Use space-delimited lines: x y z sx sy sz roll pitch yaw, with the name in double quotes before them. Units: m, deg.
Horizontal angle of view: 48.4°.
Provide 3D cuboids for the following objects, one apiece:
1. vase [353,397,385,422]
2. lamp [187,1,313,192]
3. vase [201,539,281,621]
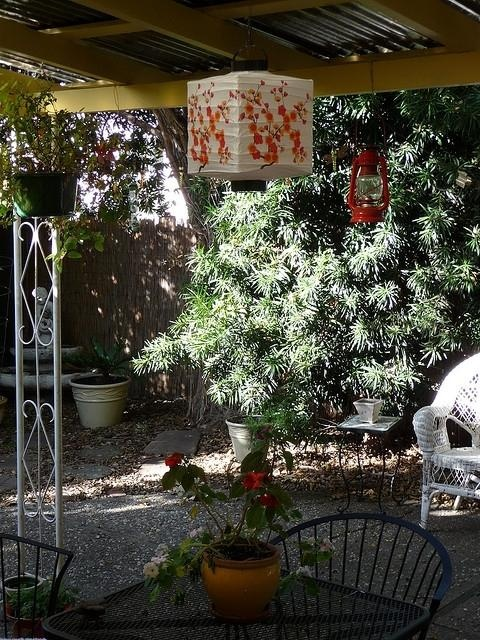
"vase" 0.846 0.576 3.496 0.187 0.133 0.155 -1 -2 8
"lamp" 0.033 -0.475 1.262 0.305 0.291 0.242 0 10 -5
"vase" 0.005 0.471 0.998 0.146 0.098 0.143 3 4 37
